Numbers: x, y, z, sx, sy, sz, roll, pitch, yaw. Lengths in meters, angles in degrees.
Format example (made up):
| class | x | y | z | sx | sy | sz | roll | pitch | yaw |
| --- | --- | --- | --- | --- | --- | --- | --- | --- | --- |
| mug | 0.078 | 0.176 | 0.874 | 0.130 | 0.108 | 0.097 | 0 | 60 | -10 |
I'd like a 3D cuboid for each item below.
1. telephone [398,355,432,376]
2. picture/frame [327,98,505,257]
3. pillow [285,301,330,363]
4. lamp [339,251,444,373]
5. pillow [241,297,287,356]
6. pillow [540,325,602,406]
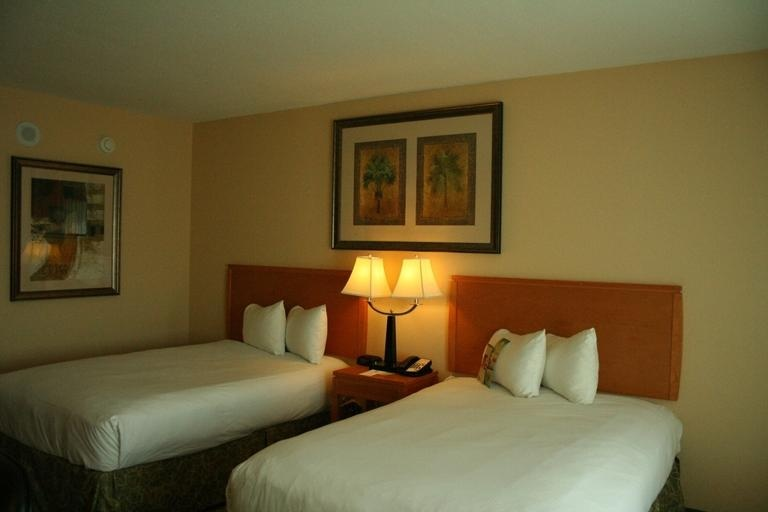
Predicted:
| class | x | y | z | sx | sy | sz | roll | pitch | yaw |
| --- | --- | --- | --- | --- | --- | --- | --- | --- | --- |
| telephone | 0.274 | 0.996 | 5.401 | 0.186 | 0.078 | 0.191 | -16 | 5 | 11 |
| picture/frame | 0.278 | -0.729 | 5.716 | 1.764 | 1.393 | 0.285 | 5 | 13 | 25 |
| pillow | -0.809 | 0.751 | 5.977 | 0.277 | 0.546 | 0.729 | -2 | 3 | -32 |
| lamp | 0.106 | 0.533 | 5.679 | 1.011 | 1.245 | 0.403 | 4 | 5 | 37 |
| pillow | -1.297 | 0.682 | 6.005 | 0.215 | 0.442 | 0.572 | 10 | -4 | 44 |
| pillow | 1.491 | 0.893 | 4.945 | 0.305 | 0.595 | 0.834 | 2 | -3 | -11 |
